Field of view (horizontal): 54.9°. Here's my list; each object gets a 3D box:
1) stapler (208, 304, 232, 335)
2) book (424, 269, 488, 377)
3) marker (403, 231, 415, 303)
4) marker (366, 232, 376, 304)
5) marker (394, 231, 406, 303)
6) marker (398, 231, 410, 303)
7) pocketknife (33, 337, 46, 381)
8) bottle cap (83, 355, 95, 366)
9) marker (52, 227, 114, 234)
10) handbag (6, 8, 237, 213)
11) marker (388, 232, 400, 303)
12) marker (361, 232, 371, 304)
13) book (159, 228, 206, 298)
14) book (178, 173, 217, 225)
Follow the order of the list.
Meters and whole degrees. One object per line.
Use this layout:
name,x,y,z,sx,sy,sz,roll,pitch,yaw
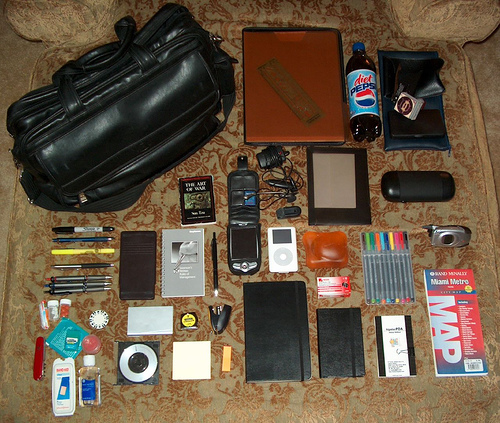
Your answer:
stapler,-0.154,0.553,2.475,0.119,0.051,0.147,-2,73,6
book,1.063,0.567,2.512,0.256,0.076,0.532,-4,73,5
marker,0.844,0.299,2.567,0.031,0.042,0.364,-8,91,-26
marker,0.623,0.307,2.561,0.028,0.039,0.358,-2,76,-6
marker,0.795,0.292,2.568,0.029,0.037,0.354,-4,76,-4
marker,0.803,0.296,2.568,0.029,0.046,0.373,-4,77,-2
pocketknife,-1.063,0.745,2.445,0.058,0.022,0.218,2,87,26
bottle cap,-0.803,0.746,2.419,0.048,0.050,0.048,-1,80,4
marker,-0.889,0.100,2.566,0.254,0.028,0.027,-1,59,-6
handbag,-0.602,-0.469,2.396,1.012,0.689,0.559,-35,63,1
marker,0.765,0.293,2.566,0.036,0.030,0.338,-3,76,-4
marker,0.615,0.297,2.562,0.028,0.039,0.343,-2,80,-14
book,-0.352,0.264,2.534,0.222,0.051,0.349,-1,73,6
book,-0.284,-0.054,2.595,0.235,0.034,0.310,-6,75,-7
